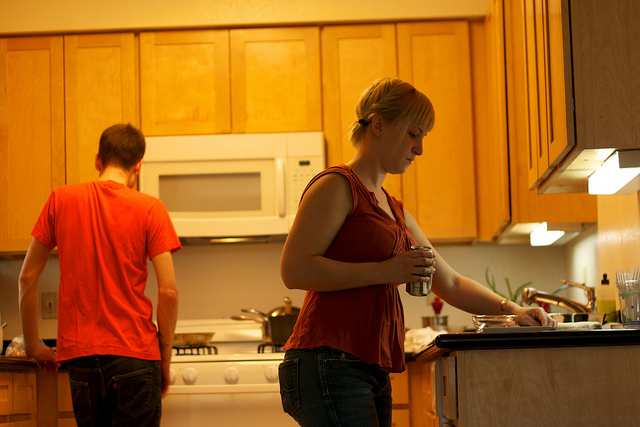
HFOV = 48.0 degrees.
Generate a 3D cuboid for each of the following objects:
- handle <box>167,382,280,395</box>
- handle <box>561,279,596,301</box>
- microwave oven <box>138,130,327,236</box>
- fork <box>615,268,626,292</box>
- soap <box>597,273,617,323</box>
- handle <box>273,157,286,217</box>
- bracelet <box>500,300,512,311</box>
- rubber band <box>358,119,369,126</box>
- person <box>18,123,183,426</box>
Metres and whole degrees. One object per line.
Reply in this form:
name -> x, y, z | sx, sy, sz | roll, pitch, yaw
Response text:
handle -> -0.454, 0.826, 3.412 | 0.528, 0.050, 0.020 | -1, -2, 1
handle -> 1.184, 0.346, 3.269 | 0.132, 0.090, 0.259 | -2, -3, 19
microwave oven -> -0.453, -0.183, 4.224 | 0.926, 0.493, 0.596 | -1, -8, 1
fork -> 1.151, 0.251, 2.751 | 0.010, 0.090, 0.012 | 5, -18, -31
soap -> 1.226, 0.353, 3.059 | 0.076, 0.197, 0.190 | -2, -3, 22
handle -> -0.217, -0.147, 3.955 | 0.063, 0.330, 0.046 | -1, -2, -1
bracelet -> 0.677, 0.332, 2.593 | 0.035, 0.035, 0.020 | 21, -6, -32
rubber band -> 0.150, -0.310, 2.452 | 0.021, 0.005, 0.020 | 32, -4, -29
person -> -0.915, 0.238, 3.012 | 0.661, 1.256, 0.314 | -1, -2, -8
